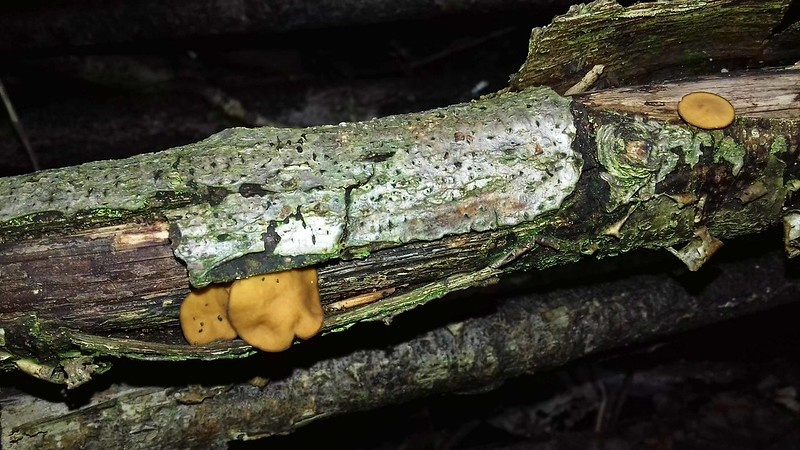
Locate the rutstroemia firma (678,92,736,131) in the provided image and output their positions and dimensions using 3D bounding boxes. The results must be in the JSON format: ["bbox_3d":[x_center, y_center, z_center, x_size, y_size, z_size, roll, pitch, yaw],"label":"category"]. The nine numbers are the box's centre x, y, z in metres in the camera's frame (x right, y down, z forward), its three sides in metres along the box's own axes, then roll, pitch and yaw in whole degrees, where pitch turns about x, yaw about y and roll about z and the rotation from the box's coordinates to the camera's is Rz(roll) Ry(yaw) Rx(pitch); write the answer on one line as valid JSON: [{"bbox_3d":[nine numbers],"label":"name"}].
[{"bbox_3d":[2.073,-0.769,4.973,0.377,0.151,0.269,4,42,8],"label":"rutstroemia firma"}]
